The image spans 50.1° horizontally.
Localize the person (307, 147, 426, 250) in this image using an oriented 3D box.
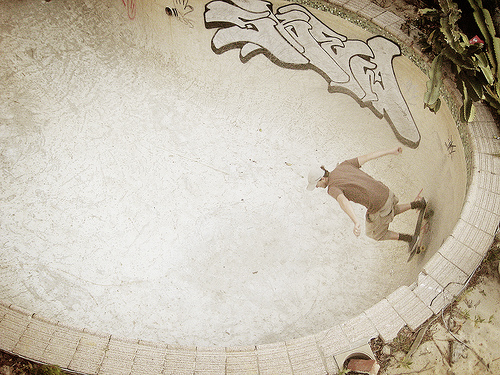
[{"bbox_3d":[2.097,0.130,9.506,1.207,1.087,2.131,-31,75,-25],"label":"person"}]
